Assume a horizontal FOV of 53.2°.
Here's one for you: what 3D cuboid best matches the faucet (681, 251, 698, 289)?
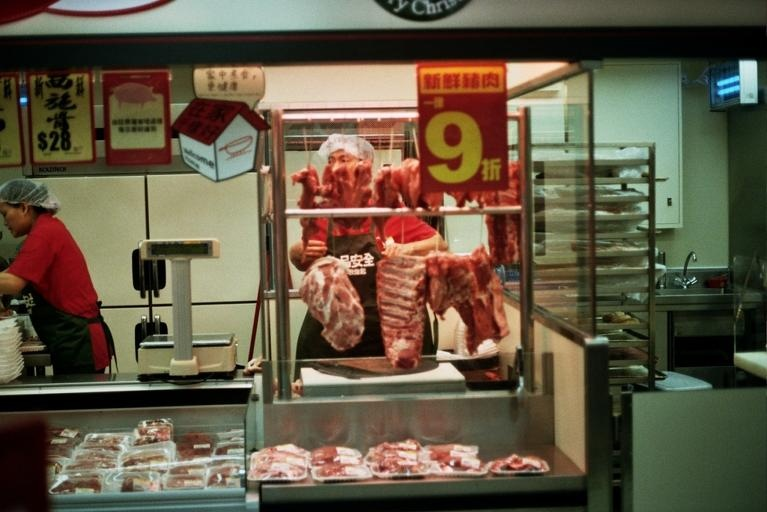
[{"bbox_3d":[2.762,0.135,6.888,0.129,0.322,0.333,-1,3,23],"label":"faucet"}]

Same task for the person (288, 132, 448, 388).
[{"bbox_3d":[-0.081,-0.027,4.590,0.959,1.381,0.806,-3,3,-8],"label":"person"}]

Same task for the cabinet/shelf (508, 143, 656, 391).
[{"bbox_3d":[1.270,0.091,4.539,0.579,1.540,1.418,-1,3,27],"label":"cabinet/shelf"}]
